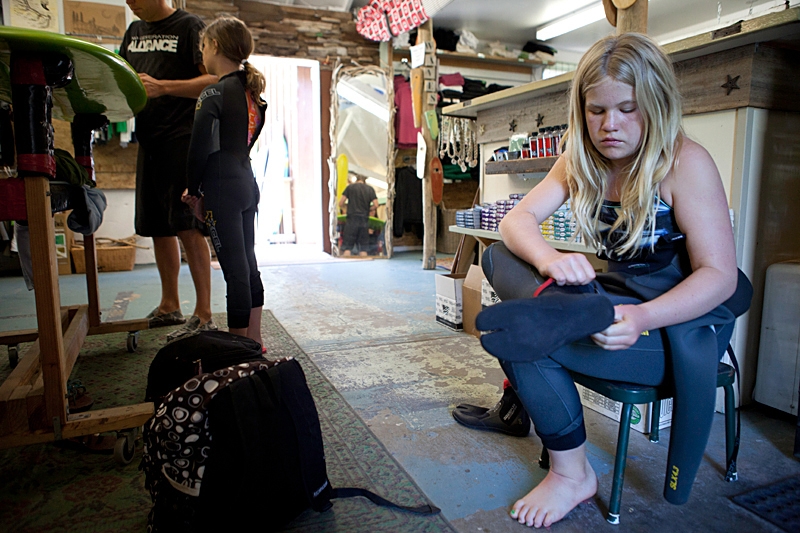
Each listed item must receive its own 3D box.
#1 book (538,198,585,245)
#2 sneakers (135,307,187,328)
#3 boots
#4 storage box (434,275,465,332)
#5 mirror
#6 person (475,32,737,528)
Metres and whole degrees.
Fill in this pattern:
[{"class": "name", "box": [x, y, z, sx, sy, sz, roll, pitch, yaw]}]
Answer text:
[{"class": "book", "box": [0.874, -0.273, 2.880, 0.277, 0.116, 0.361, 1, 9, 12]}, {"class": "sneakers", "box": [-1.387, 0.296, 3.044, 0.110, 0.078, 0.200, -13, -16, 38]}, {"class": "boots", "box": [0.414, 0.613, 2.311, 0.349, 0.224, 0.158, 0, -18, 36]}, {"class": "storage box", "box": [0.347, 0.247, 3.540, 0.187, 0.294, 0.320, -9, 15, -28]}, {"class": "mirror", "box": [-0.500, -1.379, 6.990, 0.767, 2.400, 0.546, -1, 15, -2]}, {"class": "person", "box": [0.656, 0.070, 1.677, 0.803, 1.567, 0.649, 8, 17, 30]}]
